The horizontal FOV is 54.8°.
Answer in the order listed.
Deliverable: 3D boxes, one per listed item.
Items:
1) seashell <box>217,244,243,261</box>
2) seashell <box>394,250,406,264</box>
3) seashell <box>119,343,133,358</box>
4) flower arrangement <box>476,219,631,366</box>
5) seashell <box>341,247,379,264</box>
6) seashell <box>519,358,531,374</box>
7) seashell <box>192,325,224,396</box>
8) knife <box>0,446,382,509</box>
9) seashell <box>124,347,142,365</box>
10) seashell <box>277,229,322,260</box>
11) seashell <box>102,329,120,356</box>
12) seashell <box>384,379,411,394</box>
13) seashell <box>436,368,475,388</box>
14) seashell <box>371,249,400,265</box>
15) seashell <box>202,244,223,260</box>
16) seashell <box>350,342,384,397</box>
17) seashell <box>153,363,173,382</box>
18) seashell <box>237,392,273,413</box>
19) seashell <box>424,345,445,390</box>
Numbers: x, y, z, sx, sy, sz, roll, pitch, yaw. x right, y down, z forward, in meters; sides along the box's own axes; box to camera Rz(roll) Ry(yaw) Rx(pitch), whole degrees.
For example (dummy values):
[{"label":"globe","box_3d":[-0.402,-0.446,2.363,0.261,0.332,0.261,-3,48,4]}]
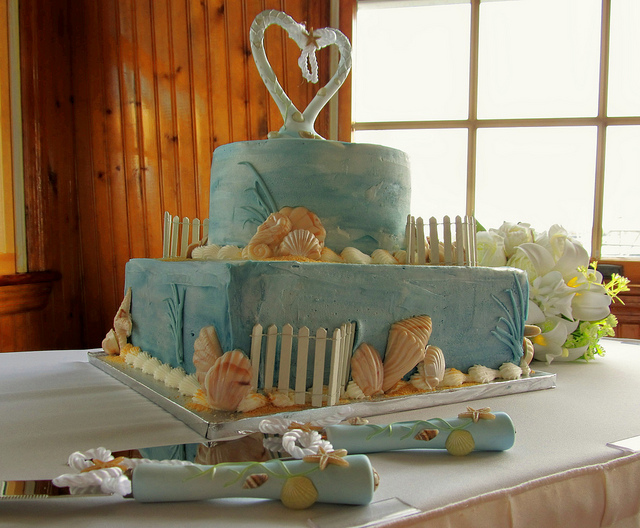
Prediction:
[{"label":"seashell","box_3d":[-0.295,-0.029,2.015,0.080,0.036,0.188,-1,13,-9]},{"label":"seashell","box_3d":[0.277,-0.024,2.132,0.035,0.014,0.042,5,17,-11]},{"label":"seashell","box_3d":[-0.724,0.320,2.306,0.015,0.045,0.047,41,-1,-9]},{"label":"flower arrangement","box_3d":[0.917,0.091,2.539,0.431,0.584,0.585,7,4,30]},{"label":"seashell","box_3d":[0.120,-0.022,2.029,0.110,0.048,0.154,9,15,30]},{"label":"seashell","box_3d":[0.709,0.356,2.148,0.040,0.015,0.038,25,0,3]},{"label":"seashell","box_3d":[-0.323,0.270,1.750,0.074,0.170,0.107,2,6,-19]},{"label":"knife","box_3d":[-0.281,0.447,1.364,0.841,0.097,0.173,1,13,-1]},{"label":"seashell","box_3d":[-0.678,0.328,2.222,0.056,0.015,0.049,-38,29,-9]},{"label":"seashell","box_3d":[-0.066,-0.056,1.926,0.134,0.091,0.050,-1,14,-6]},{"label":"seashell","box_3d":[-0.805,0.302,2.385,0.034,0.101,0.082,5,-11,-18]},{"label":"seashell","box_3d":[0.236,0.368,1.869,0.049,0.014,0.048,-6,-31,-47]},{"label":"seashell","box_3d":[0.438,0.363,1.975,0.093,0.055,0.026,4,-40,-24]},{"label":"seashell","box_3d":[0.227,-0.015,2.078,0.069,0.024,0.057,11,3,-18]},{"label":"seashell","box_3d":[-0.378,-0.042,2.133,0.054,0.017,0.056,3,23,21]},{"label":"seashell","box_3d":[0.139,0.308,1.815,0.068,0.140,0.089,1,7,-25]},{"label":"seashell","box_3d":[-0.507,0.348,1.988,0.049,0.050,0.015,-17,-50,27]},{"label":"seashell","box_3d":[-0.178,0.375,1.693,0.062,0.018,0.047,-3,17,-45]},{"label":"seashell","box_3d":[0.364,0.303,1.970,0.052,0.099,0.175,-6,-27,3]}]
